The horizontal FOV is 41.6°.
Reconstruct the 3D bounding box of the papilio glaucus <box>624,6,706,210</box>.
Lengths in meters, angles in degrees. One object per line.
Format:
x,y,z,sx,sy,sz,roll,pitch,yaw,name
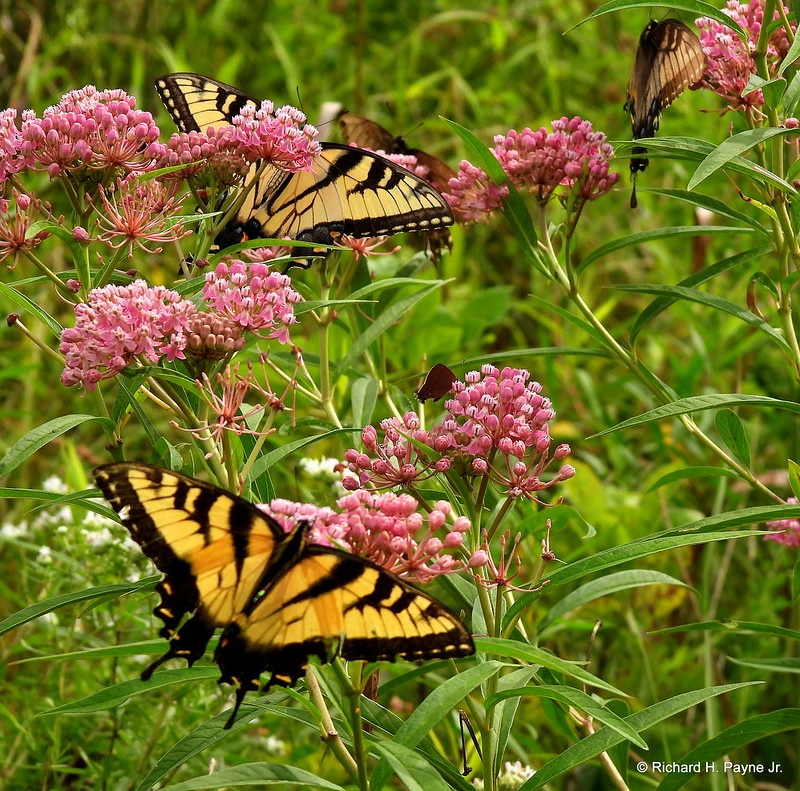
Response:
0.566,-0.637,2.359,0.195,0.441,0.409,3,25,17,papilio glaucus

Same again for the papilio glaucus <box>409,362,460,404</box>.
0.069,-0.018,2.087,0.064,0.077,0.059,-6,85,3,papilio glaucus

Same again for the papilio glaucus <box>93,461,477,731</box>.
-0.183,0.312,1.828,0.695,0.203,0.426,25,93,18,papilio glaucus
